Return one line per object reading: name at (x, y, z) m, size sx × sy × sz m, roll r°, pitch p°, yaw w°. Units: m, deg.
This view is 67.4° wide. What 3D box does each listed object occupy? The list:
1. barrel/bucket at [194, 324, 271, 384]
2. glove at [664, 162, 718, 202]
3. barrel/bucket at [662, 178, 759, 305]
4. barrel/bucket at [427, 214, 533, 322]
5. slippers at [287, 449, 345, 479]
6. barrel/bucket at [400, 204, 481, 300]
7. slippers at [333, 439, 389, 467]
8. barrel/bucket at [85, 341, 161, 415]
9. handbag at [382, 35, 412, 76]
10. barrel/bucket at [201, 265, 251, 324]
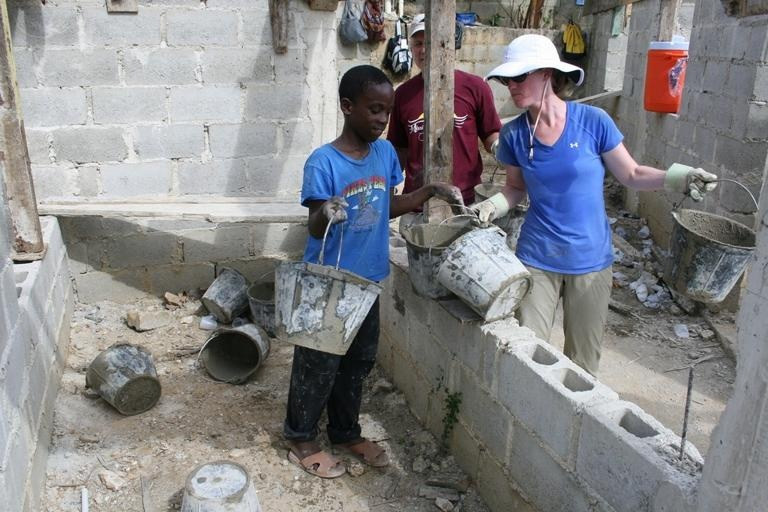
barrel/bucket at (-1.343, 0.829, 5.035) m, size 0.632 × 0.404 × 0.459 m, roll -1°, pitch 21°, yaw -5°
glove at (1.813, -0.428, 3.454) m, size 0.270 × 0.189 × 0.194 m, roll 12°, pitch 23°, yaw 27°
barrel/bucket at (2.035, -0.105, 3.626) m, size 0.459 × 0.852 × 0.480 m, roll 0°, pitch 21°, yaw 0°
barrel/bucket at (0.630, 0.141, 3.672) m, size 0.481 × 0.563 × 0.408 m, roll -9°, pitch 23°, yaw -23°
slippers at (-0.470, 1.434, 4.018) m, size 0.316 × 0.104 × 0.168 m, roll 18°, pitch 21°, yaw 25°
barrel/bucket at (0.333, -0.066, 4.127) m, size 0.482 × 0.628 × 0.568 m, roll 20°, pitch 31°, yaw 39°
slippers at (-0.157, 1.360, 4.150) m, size 0.336 × 0.134 × 0.178 m, roll 14°, pitch 28°, yaw 23°
barrel/bucket at (-2.017, 0.976, 4.622) m, size 0.542 × 0.557 × 0.395 m, roll 22°, pitch 4°, yaw -41°
handbag at (0.243, -3.579, 10.338) m, size 0.414 × 0.600 × 1.108 m, roll -1°, pitch 30°, yaw -6°
barrel/bucket at (-1.527, 0.395, 5.857) m, size 0.466 × 0.545 × 0.406 m, roll 21°, pitch 44°, yaw 21°
